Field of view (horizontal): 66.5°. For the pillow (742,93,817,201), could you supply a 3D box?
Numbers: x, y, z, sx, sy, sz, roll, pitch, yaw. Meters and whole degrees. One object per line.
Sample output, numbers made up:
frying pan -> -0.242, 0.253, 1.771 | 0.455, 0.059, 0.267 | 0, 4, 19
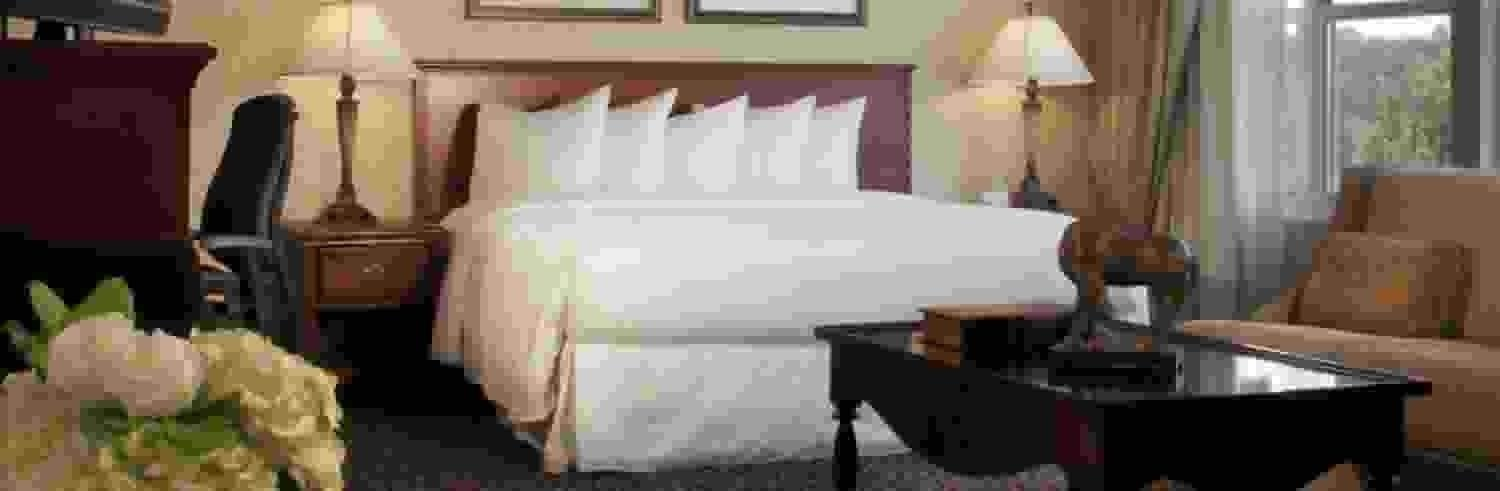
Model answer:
pillow -> 0.266, -0.849, 10.396 | 1.079, 0.905, 0.242 | -1, -4, -4

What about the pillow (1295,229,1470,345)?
pillow -> 4.823, 0.308, 8.676 | 0.988, 0.802, 0.215 | 6, -3, 20

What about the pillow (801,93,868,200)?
pillow -> 0.776, -0.897, 10.486 | 0.399, 0.852, 0.525 | 0, 5, 3

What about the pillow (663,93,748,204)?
pillow -> -0.410, -0.827, 10.327 | 1.194, 0.953, 0.256 | -5, 0, -8

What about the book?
book -> 1.662, 0.533, 7.745 | 0.935, 0.305, 0.778 | 0, 4, 3

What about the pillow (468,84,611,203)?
pillow -> -2.075, -0.860, 10.150 | 1.158, 0.939, 0.240 | 0, -14, 3

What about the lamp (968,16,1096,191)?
lamp -> 2.665, -1.415, 10.986 | 1.210, 1.831, 0.950 | 0, -1, -10
